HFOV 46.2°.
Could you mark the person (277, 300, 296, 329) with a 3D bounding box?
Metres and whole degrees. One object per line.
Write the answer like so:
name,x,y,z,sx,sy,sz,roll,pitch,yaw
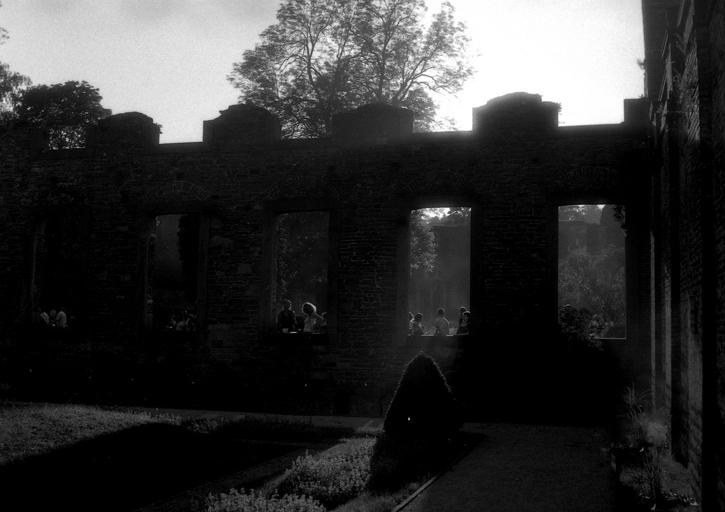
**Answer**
person,-1.827,1.447,20.391,0.442,0.794,0.907,-3,6,-6
